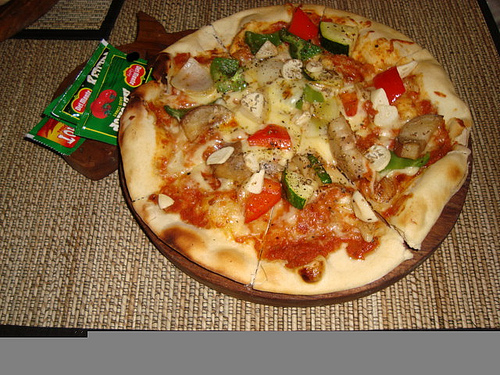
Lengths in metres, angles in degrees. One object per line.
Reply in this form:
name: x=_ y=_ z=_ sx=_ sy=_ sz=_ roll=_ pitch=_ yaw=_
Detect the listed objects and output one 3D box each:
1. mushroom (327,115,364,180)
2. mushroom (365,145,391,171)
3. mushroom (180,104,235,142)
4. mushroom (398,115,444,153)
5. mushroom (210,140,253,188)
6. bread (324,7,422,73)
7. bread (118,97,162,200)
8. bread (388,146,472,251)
mushroom: x=0.662 y=-0.276 z=3.459 sx=0.232 sy=0.115 sz=0.427 roll=-19 pitch=81 yaw=23
mushroom: x=0.913 y=-0.212 z=3.495 sx=0.156 sy=0.042 sz=0.178 roll=-34 pitch=83 yaw=-3
mushroom: x=-0.286 y=-0.459 z=3.483 sx=0.436 sy=0.089 sz=0.243 roll=-33 pitch=106 yaw=-11
mushroom: x=1.247 y=-0.355 z=3.573 sx=0.249 sy=0.089 sz=0.395 roll=25 pitch=75 yaw=33
mushroom: x=-0.127 y=-0.159 z=3.270 sx=0.275 sy=0.069 sz=0.251 roll=8 pitch=91 yaw=11
bread: x=0.918 y=-1.148 z=3.817 sx=0.699 sy=0.116 sz=0.476 roll=33 pitch=82 yaw=5
bread: x=-0.774 y=-0.286 z=3.476 sx=0.254 sy=0.102 sz=0.751 roll=-10 pitch=82 yaw=0
bread: x=1.209 y=0.050 z=3.382 sx=0.611 sy=0.410 sz=0.823 roll=9 pitch=35 yaw=9
